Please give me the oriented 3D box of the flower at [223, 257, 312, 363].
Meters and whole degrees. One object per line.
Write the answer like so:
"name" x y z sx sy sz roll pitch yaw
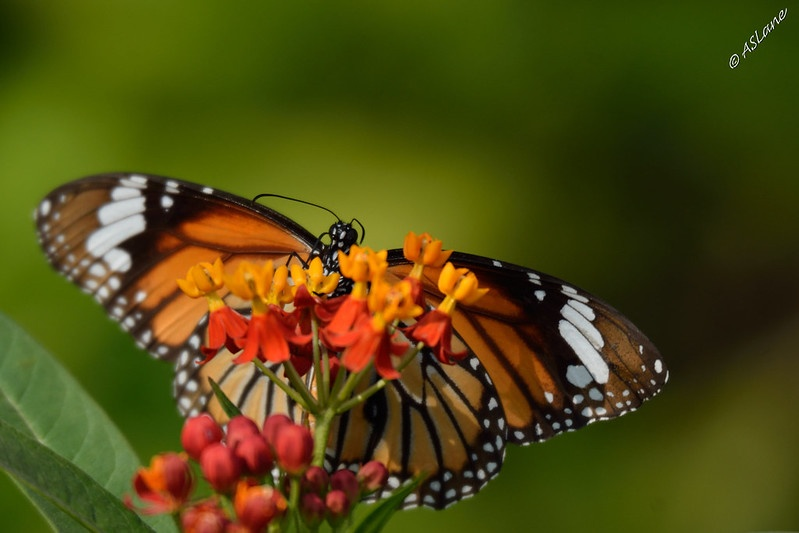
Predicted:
"flower" -0.368 0.106 2.250 0.210 0.267 0.213 -14 4 30

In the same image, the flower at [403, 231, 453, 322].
"flower" 0.076 -0.026 2.369 0.127 0.111 0.152 22 -84 -9

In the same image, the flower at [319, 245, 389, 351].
"flower" -0.120 0.093 2.212 0.121 0.238 0.241 20 -5 -10

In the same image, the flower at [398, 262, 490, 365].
"flower" 0.118 0.131 2.287 0.226 0.230 0.263 22 -87 -6

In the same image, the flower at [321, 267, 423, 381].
"flower" -0.063 0.161 2.152 0.247 0.243 0.165 -8 -37 -12
